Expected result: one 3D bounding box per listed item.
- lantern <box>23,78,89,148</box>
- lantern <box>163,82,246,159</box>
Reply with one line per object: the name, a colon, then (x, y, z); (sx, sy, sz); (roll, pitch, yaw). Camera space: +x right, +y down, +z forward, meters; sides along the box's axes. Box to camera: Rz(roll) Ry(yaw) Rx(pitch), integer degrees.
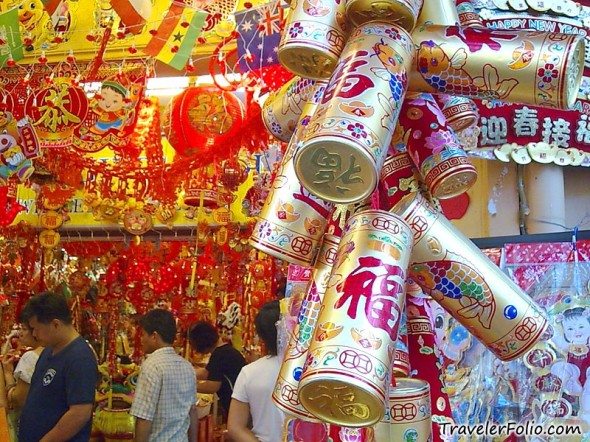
lantern: (-1.551, -0.707, 3.502); (0.416, 0.424, 0.378); (8, 13, 14)
lantern: (-0.565, -0.682, 3.706); (0.478, 0.455, 0.546); (1, 19, 35)
